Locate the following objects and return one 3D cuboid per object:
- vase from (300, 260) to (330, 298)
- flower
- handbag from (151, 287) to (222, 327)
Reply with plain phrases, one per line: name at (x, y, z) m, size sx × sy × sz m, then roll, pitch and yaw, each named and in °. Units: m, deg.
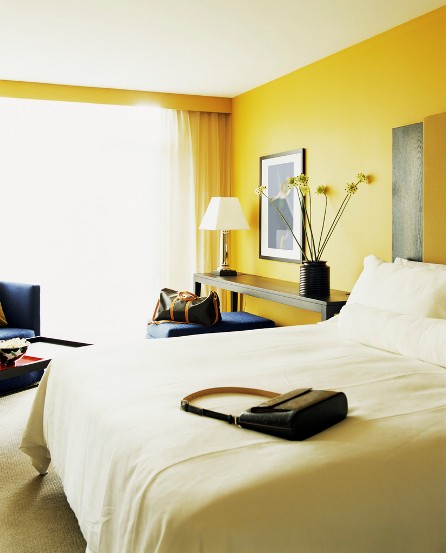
vase at (0.666, 0.006, 3.181) m, size 0.225 × 0.254 × 0.229 m, roll 2°, pitch 9°, yaw 19°
flower at (0.771, -0.507, 3.668) m, size 0.781 × 0.698 × 0.768 m, roll 2°, pitch 5°, yaw 25°
handbag at (-0.333, 0.247, 3.724) m, size 0.508 × 0.248 × 0.286 m, roll 3°, pitch 6°, yaw 23°
